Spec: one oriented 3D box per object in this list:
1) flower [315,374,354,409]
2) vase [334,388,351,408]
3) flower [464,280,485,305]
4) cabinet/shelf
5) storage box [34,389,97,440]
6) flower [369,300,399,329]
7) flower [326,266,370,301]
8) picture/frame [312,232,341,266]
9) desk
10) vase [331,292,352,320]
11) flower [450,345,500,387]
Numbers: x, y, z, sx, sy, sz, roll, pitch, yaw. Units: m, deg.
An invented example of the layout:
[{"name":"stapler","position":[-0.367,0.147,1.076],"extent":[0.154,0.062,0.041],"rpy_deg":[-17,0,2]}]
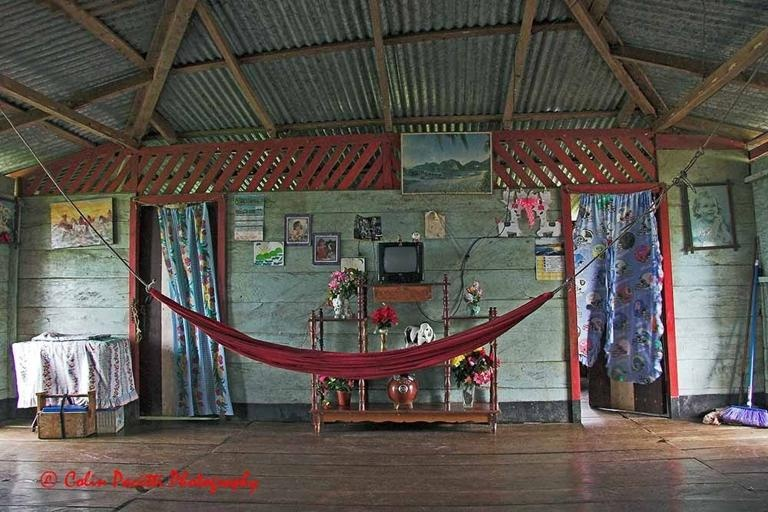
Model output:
[{"name":"flower","position":[-0.584,1.569,8.005],"extent":[0.624,0.481,0.391],"rpy_deg":[1,-15,-3]},{"name":"vase","position":[-0.470,1.650,7.978],"extent":[0.206,0.155,0.219],"rpy_deg":[-6,-10,38]},{"name":"flower","position":[1.023,0.429,8.089],"extent":[0.198,0.245,0.217],"rpy_deg":[3,-3,2]},{"name":"cabinet/shelf","position":[0.277,1.157,7.852],"extent":[2.297,1.461,0.727],"rpy_deg":[0,-5,3]},{"name":"storage box","position":[-3.542,1.808,8.025],"extent":[0.807,0.571,0.544],"rpy_deg":[0,-4,-2]},{"name":"flower","position":[-0.022,0.701,7.977],"extent":[0.335,0.256,0.293],"rpy_deg":[-1,-5,-2]},{"name":"flower","position":[-0.459,0.288,8.052],"extent":[0.450,0.213,0.378],"rpy_deg":[-14,30,-2]},{"name":"picture/frame","position":[-0.699,-0.085,8.308],"extent":[0.532,0.456,0.037],"rpy_deg":[0,-6,-1]},{"name":"desk","position":[-3.681,1.371,8.295],"extent":[1.377,0.864,0.828],"rpy_deg":[-4,-7,17]},{"name":"vase","position":[-0.516,0.590,8.098],"extent":[0.350,0.379,0.279],"rpy_deg":[-1,-12,-3]},{"name":"flower","position":[1.005,1.306,7.914],"extent":[0.531,0.526,0.390],"rpy_deg":[0,13,5]}]
